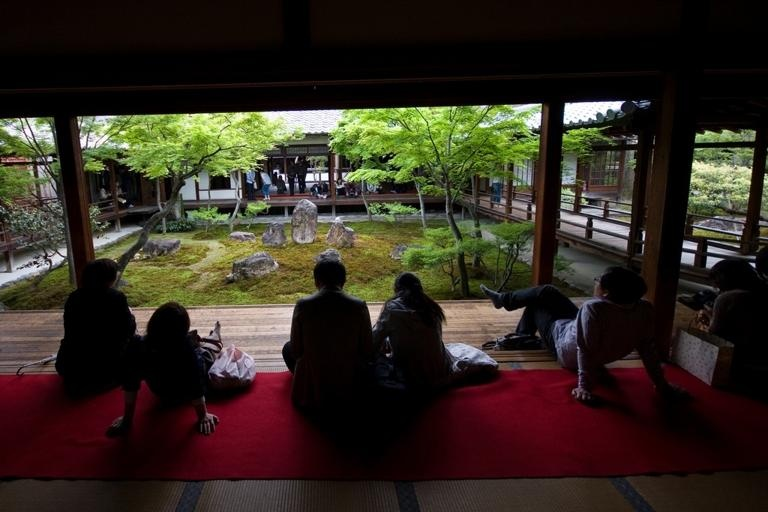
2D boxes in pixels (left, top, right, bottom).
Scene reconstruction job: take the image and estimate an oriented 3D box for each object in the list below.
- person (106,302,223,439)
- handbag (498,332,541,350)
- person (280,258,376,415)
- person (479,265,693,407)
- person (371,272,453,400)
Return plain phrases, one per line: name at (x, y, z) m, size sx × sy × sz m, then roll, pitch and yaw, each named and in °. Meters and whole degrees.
person at (-1.558, 0.785, 3.435) m, size 0.722 × 0.598 × 1.123 m, roll 2°, pitch 24°, yaw -7°
handbag at (1.331, 0.835, 4.389) m, size 0.355 × 0.084 × 0.175 m, roll 1°, pitch 2°, yaw -3°
person at (-0.418, 0.619, 3.413) m, size 0.657 × 1.194 × 0.335 m, roll -2°, pitch 14°, yaw -2°
person at (1.773, 0.569, 3.867) m, size 0.803 × 1.072 × 1.285 m, roll -8°, pitch 14°, yaw -27°
person at (0.224, 0.632, 3.868) m, size 0.848 × 0.903 × 1.007 m, roll -1°, pitch 10°, yaw -1°
